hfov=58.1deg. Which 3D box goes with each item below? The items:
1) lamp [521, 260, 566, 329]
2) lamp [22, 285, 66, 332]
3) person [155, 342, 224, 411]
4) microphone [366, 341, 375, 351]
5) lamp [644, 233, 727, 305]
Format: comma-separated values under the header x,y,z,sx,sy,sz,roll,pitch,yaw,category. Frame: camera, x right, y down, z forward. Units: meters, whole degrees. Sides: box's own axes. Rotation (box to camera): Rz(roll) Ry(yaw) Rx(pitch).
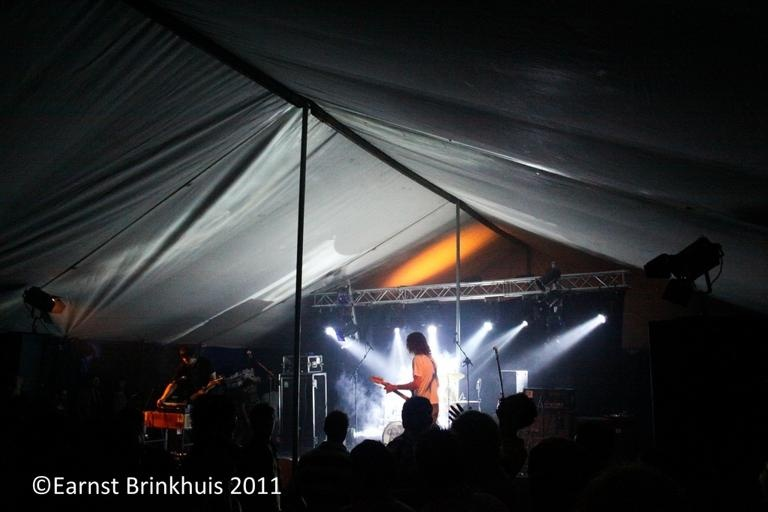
x,y,z,sx,sy,sz,roll,pitch,yaw,category
3.255,0.672,13.344,0.737,1.394,0.418,4,-26,-40,lamp
-4.045,0.637,8.242,0.415,0.650,0.302,26,29,19,lamp
-2.764,1.867,9.868,0.615,1.028,1.097,-7,3,10,person
-0.319,2.001,15.267,0.267,0.251,0.066,6,15,30,microphone
3.102,0.174,6.961,0.517,0.540,0.842,14,-23,-28,lamp
